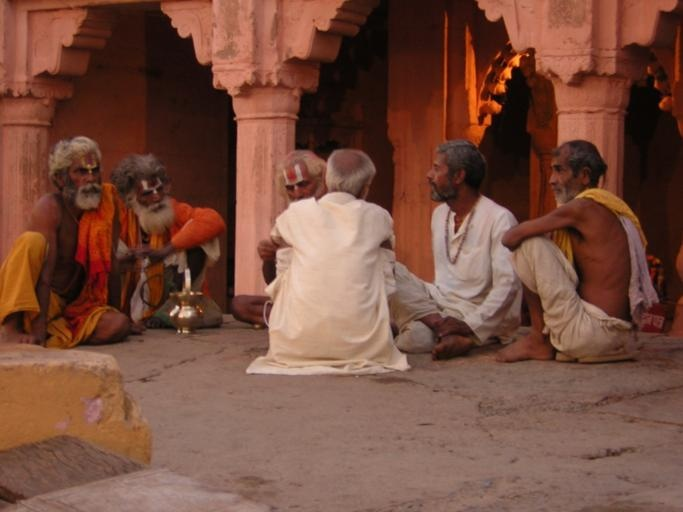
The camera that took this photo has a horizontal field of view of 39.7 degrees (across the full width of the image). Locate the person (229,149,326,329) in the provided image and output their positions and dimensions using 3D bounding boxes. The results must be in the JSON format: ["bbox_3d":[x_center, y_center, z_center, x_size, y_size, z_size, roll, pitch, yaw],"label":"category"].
[{"bbox_3d":[-0.335,-0.130,6.692,0.925,1.259,0.863,-1,-4,-11],"label":"person"}]

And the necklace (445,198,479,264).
[{"bbox_3d":[0.839,-0.136,6.772,0.063,0.348,0.255,18,-19,-31],"label":"necklace"}]

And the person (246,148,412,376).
[{"bbox_3d":[-0.144,0.002,6.145,1.123,1.349,1.028,-1,16,-10],"label":"person"}]

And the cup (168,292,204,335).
[{"bbox_3d":[-1.223,0.426,7.475,0.236,0.361,0.197,9,14,43],"label":"cup"}]

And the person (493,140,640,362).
[{"bbox_3d":[1.540,-0.026,6.283,0.949,1.444,0.524,1,11,10],"label":"person"}]

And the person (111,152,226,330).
[{"bbox_3d":[-1.546,-0.104,7.687,1.166,1.291,1.070,-3,18,-13],"label":"person"}]
